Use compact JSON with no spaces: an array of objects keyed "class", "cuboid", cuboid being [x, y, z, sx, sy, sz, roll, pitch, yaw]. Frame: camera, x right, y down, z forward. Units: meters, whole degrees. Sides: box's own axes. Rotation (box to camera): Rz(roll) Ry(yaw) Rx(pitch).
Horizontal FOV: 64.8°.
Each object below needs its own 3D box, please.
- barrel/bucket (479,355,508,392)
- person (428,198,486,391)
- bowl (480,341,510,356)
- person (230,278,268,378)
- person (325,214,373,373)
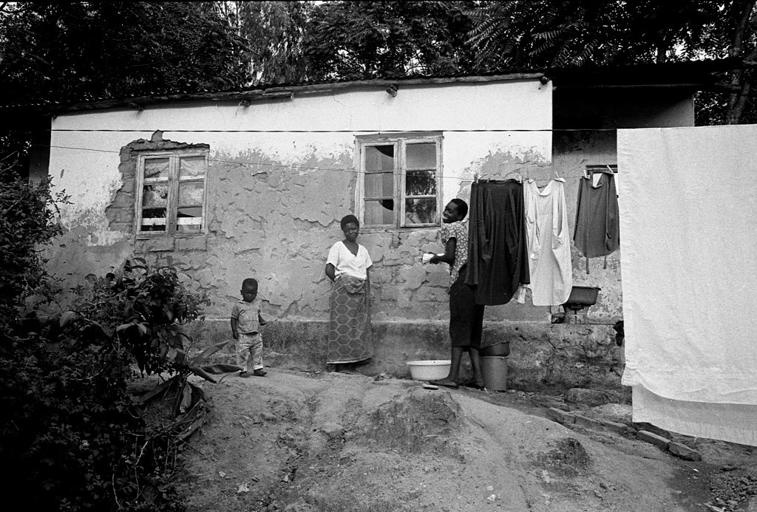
[{"class":"barrel/bucket","cuboid":[1.544,1.561,8.042,0.401,0.436,0.425,0,-6,0]},{"class":"person","cuboid":[1.037,0.481,7.650,0.700,1.768,0.498,2,1,8]},{"class":"bowl","cuboid":[1.551,1.241,7.901,0.263,0.111,0.221,2,-16,-2]},{"class":"person","cuboid":[-1.711,0.949,7.962,0.464,1.284,1.176,2,1,-11]},{"class":"person","cuboid":[-0.404,0.457,8.307,0.675,2.020,0.342,2,1,-4]}]
